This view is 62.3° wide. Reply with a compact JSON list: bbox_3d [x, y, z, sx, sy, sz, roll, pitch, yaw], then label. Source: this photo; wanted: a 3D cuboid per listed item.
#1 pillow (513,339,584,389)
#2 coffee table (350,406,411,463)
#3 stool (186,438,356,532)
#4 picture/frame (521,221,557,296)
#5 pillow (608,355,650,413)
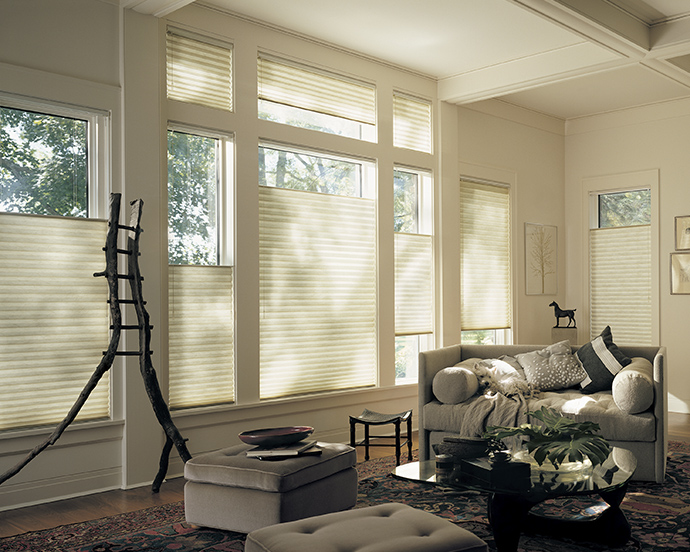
[{"bbox_3d":[1.680,0.704,4.653,0.426,0.109,0.374,-15,36,2],"label":"pillow"},{"bbox_3d":[0.305,1.311,4.771,0.629,0.330,0.576,6,-11,-35],"label":"coffee table"},{"bbox_3d":[-0.440,1.226,3.495,0.690,0.360,0.850,-1,-3,28],"label":"stool"},{"bbox_3d":[2.531,-0.227,7.398,0.694,0.909,0.115,2,-5,-43],"label":"picture/frame"},{"bbox_3d":[2.135,0.804,4.209,0.250,0.316,0.519,-4,-4,33],"label":"pillow"}]
